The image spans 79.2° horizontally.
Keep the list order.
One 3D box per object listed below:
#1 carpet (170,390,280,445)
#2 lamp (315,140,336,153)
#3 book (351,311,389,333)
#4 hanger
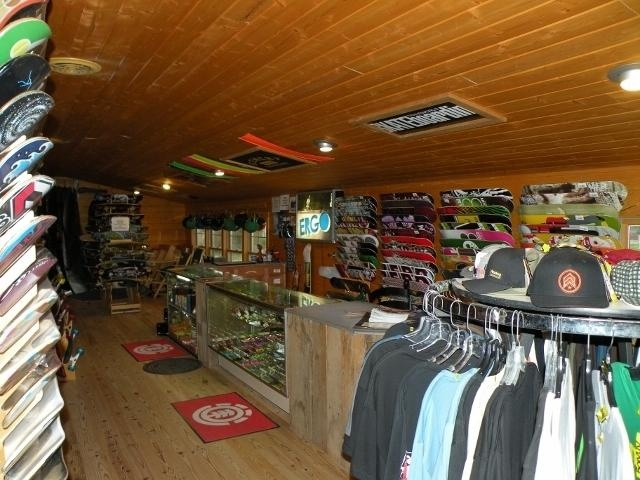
[{"bbox_3d":[-0.925,1.648,3.658,0.649,0.018,0.933,-3,4,-34],"label":"carpet"},{"bbox_3d":[0.061,-0.938,3.819,0.169,0.073,0.202,-1,4,1],"label":"lamp"},{"bbox_3d":[0.365,0.591,2.769,0.340,0.052,0.259,0,5,5],"label":"book"},{"bbox_3d":[0.641,0.337,1.325,0.593,0.093,0.506,2,0,-17],"label":"hanger"}]
